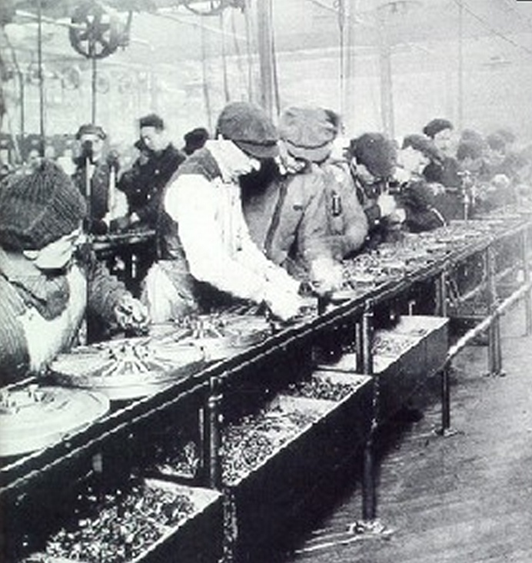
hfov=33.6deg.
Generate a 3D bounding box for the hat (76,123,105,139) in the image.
[{"bbox_3d":[-0.587,-0.503,2.939,0.027,0.052,0.166,1,10,19],"label":"hat"}]

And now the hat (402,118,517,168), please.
[{"bbox_3d":[1.406,-1.030,6.561,0.475,0.191,0.465,16,-4,-40],"label":"hat"}]
